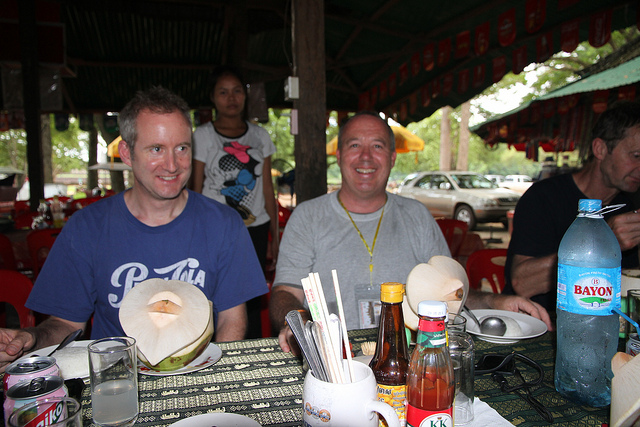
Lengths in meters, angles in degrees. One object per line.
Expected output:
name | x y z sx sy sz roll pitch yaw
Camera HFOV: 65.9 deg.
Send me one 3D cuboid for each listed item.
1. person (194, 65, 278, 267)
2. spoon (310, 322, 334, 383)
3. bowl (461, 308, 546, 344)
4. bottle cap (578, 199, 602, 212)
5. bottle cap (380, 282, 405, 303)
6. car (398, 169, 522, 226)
person | -0.723 -0.113 4.632 0.918 2.275 0.661 -6 20 -17
spoon | 0.005 0.508 1.832 0.051 0.251 0.037 -19 -3 -44
bowl | 0.912 0.595 2.599 0.281 0.065 0.271 -1 5 0
bottle cap | 1.145 -0.033 2.102 0.069 0.045 0.069 2 -4 18
bottle cap | 0.276 0.299 1.866 0.076 0.052 0.075 0 1 -1
car | 4.038 -0.510 14.831 1.842 1.452 4.261 -4 6 -28
